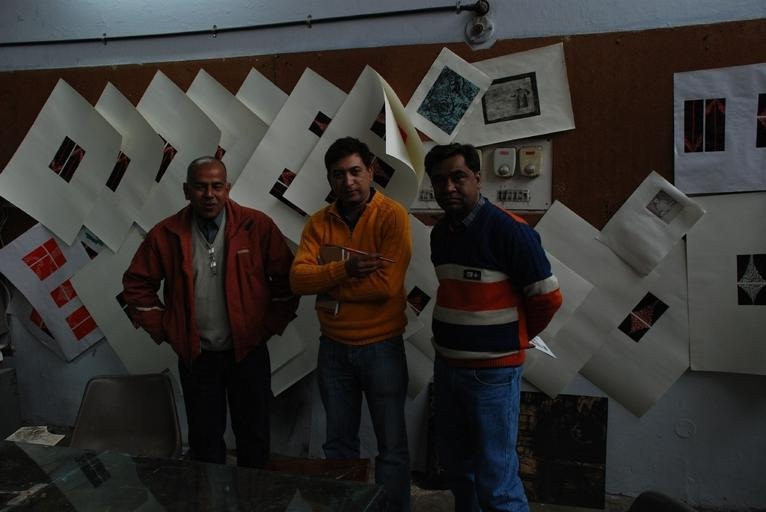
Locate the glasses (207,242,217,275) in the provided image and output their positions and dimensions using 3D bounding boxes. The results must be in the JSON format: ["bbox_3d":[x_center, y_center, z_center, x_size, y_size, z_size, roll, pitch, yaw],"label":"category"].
[{"bbox_3d":[-0.976,0.021,3.272,0.050,0.169,0.043,-2,10,-4],"label":"glasses"}]

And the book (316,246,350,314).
[{"bbox_3d":[-0.290,0.129,3.133,0.075,0.323,0.275,4,-4,-41],"label":"book"}]
